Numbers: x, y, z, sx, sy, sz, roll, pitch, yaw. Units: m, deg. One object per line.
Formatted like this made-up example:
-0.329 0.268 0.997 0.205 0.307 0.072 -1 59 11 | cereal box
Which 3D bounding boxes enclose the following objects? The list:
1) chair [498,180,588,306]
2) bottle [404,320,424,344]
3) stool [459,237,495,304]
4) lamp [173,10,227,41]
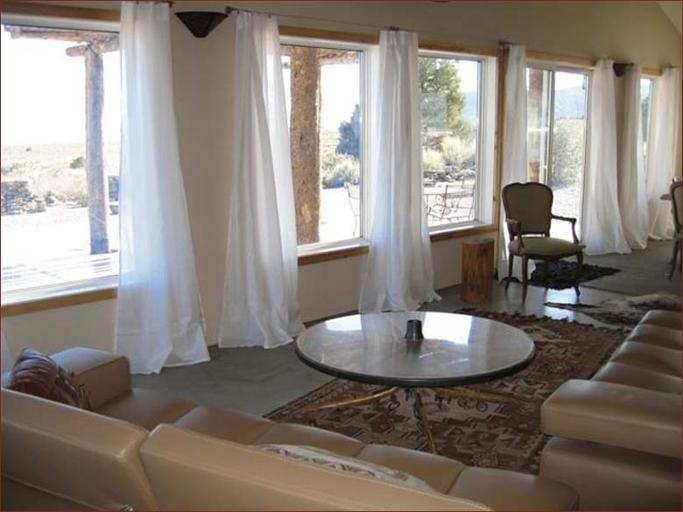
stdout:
2.071 -0.211 5.521 0.798 1.145 0.745 -8 11 -32 | chair
0.395 0.418 2.898 0.109 0.102 0.104 0 5 0 | bottle
1.360 0.156 5.255 0.300 0.592 0.362 1 13 12 | stool
-1.028 -1.654 3.839 0.223 0.093 0.226 1 6 26 | lamp
